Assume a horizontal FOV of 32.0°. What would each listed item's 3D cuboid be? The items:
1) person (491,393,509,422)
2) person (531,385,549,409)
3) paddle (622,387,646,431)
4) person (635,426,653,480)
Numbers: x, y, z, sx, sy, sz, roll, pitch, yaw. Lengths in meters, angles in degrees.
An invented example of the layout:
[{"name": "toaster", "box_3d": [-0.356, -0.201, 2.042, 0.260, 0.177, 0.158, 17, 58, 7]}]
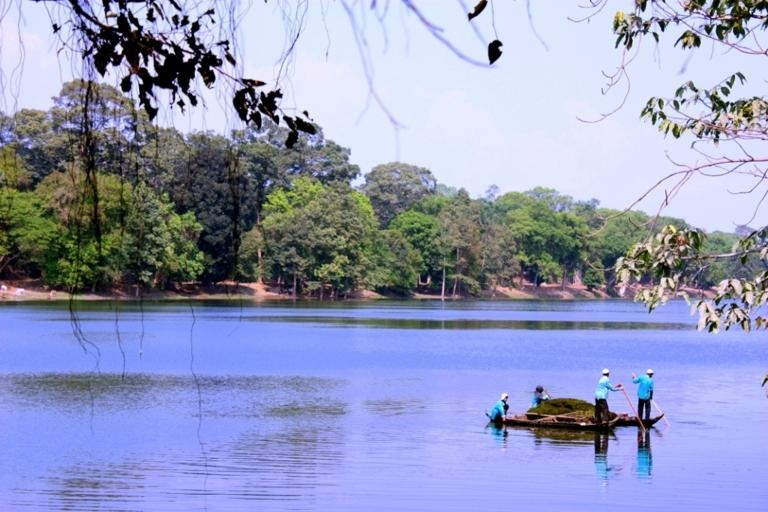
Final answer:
[{"name": "person", "box_3d": [6.066, 7.999, 70.473, 0.648, 1.329, 0.999, 12, 9, -26]}, {"name": "person", "box_3d": [8.208, 7.293, 70.743, 0.737, 1.278, 2.210, 3, 8, 8]}, {"name": "paddle", "box_3d": [13.276, 8.247, 71.596, 0.421, 0.071, 3.031, -6, 43, -20]}, {"name": "person", "box_3d": [12.693, 9.761, 65.783, 0.793, 0.828, 3.401, 11, 26, 6]}]
